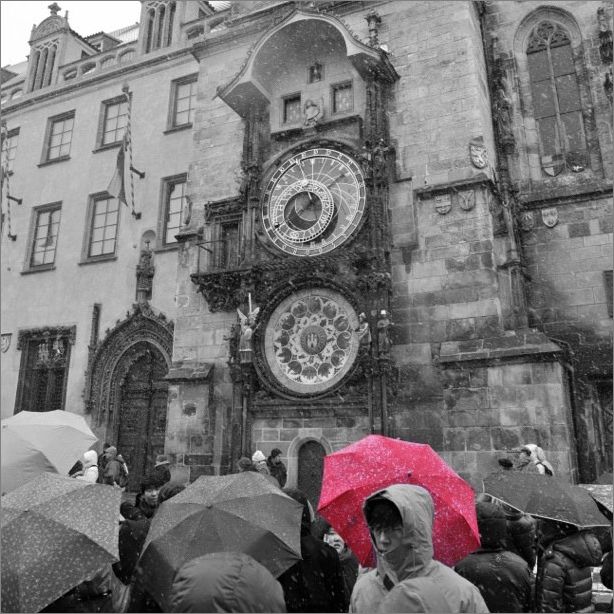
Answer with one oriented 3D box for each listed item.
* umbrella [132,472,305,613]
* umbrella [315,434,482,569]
[{"bbox_3d":[-0.599,1.578,4.668,1.139,0.788,0.750,-3,-13,-2],"label":"umbrella"},{"bbox_3d":[0.652,1.524,4.755,1.048,0.743,1.126,2,22,5],"label":"umbrella"}]
